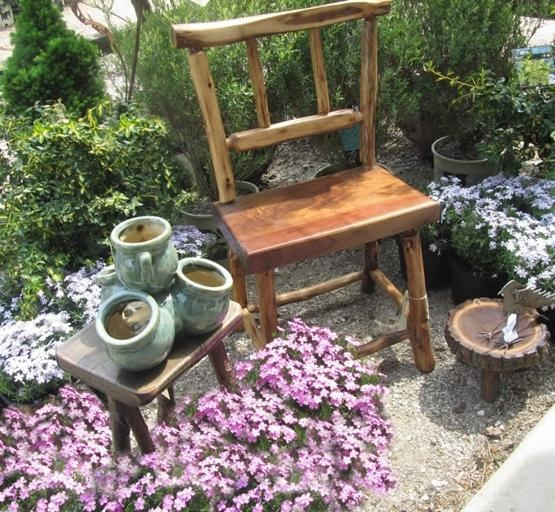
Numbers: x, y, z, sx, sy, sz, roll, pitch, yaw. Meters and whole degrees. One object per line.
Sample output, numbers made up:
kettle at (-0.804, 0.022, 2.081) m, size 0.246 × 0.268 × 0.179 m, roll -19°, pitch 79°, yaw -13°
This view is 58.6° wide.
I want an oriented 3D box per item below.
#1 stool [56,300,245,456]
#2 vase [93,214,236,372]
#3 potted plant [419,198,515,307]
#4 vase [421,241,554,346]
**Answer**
stool at (-0.351, 0.413, 1.614) m, size 0.410 × 0.523 × 0.481 m, roll 13°, pitch 39°, yaw 26°
vase at (-0.354, 0.091, 1.424) m, size 0.411 × 0.318 × 0.430 m, roll -17°, pitch 35°, yaw -28°
potted plant at (0.856, -0.034, 2.199) m, size 0.322 × 0.383 × 0.327 m, roll -16°, pitch 47°, yaw -8°
vase at (0.953, 0.125, 2.294) m, size 0.394 × 0.219 × 0.551 m, roll -11°, pitch 33°, yaw -19°
